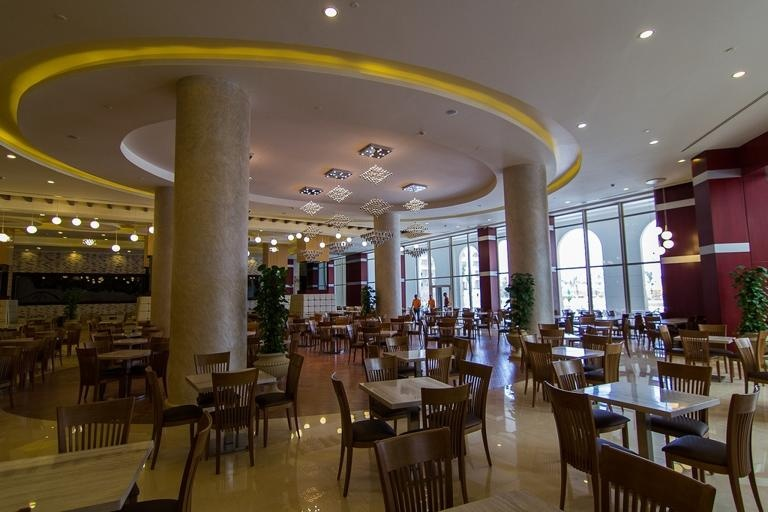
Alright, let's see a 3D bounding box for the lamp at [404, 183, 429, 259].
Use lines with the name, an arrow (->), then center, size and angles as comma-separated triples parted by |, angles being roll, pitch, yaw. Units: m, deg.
lamp -> 0.973, -1.070, 15.287 | 0.965, 2.327, 0.963 | 6, -10, -42
